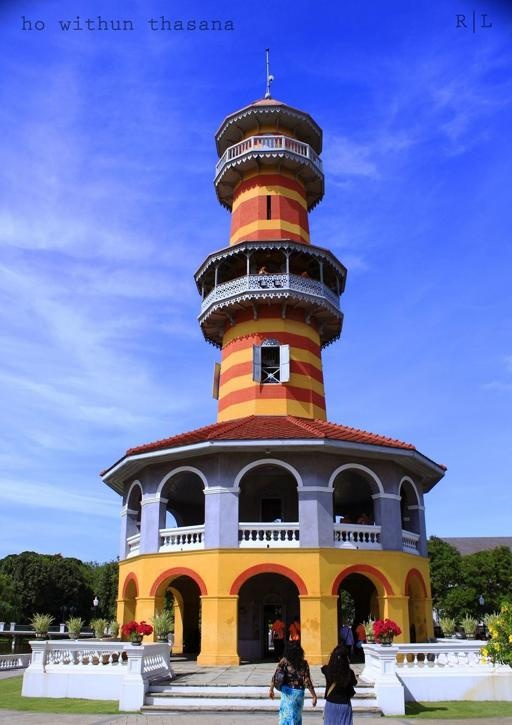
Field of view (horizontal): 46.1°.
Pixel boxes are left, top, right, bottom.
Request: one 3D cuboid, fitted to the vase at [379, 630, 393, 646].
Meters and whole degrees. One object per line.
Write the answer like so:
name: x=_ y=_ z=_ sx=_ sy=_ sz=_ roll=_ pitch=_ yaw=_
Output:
vase: x=3.048 y=6.484 z=14.189 sx=0.327 sy=0.435 sz=0.326 roll=6 pitch=-14 yaw=-14
